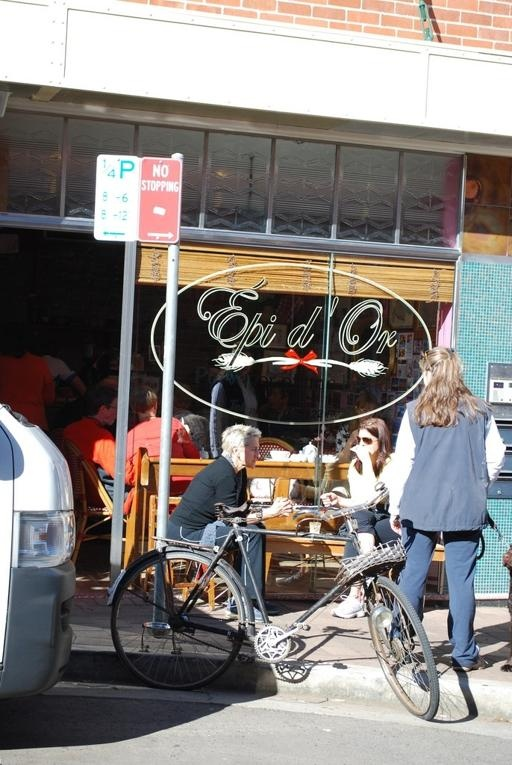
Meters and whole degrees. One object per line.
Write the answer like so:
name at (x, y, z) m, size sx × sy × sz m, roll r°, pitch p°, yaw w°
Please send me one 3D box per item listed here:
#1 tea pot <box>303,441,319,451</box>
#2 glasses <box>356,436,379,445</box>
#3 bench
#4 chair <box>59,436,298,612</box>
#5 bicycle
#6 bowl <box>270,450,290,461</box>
tea pot at (0.420, 0.497, 6.339) m, size 0.083 × 0.076 × 0.039 m, roll 8°, pitch -5°, yaw 7°
glasses at (0.762, 0.408, 5.695) m, size 0.071 × 0.057 × 0.152 m, roll 3°, pitch -1°, yaw -36°
bench at (0.189, 0.885, 4.893) m, size 1.349 × 0.705 × 0.465 m, roll 2°, pitch -13°, yaw -8°
chair at (-0.533, 0.757, 5.412) m, size 1.425 × 1.226 × 1.058 m, roll 3°, pitch -8°, yaw -14°
bicycle at (0.161, 1.142, 4.420) m, size 1.860 × 1.031 × 0.809 m, roll -2°, pitch -6°, yaw 11°
bowl at (0.182, 0.567, 6.308) m, size 0.099 × 0.052 × 0.098 m, roll -1°, pitch -9°, yaw 0°
